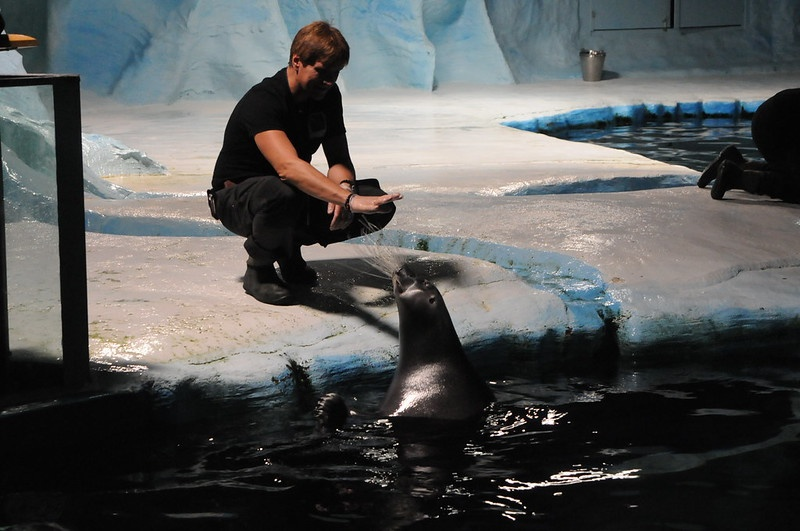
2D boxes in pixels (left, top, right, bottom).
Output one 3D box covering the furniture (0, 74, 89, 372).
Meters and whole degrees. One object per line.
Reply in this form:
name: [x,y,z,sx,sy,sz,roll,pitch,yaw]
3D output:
furniture: [-1.181,-0.118,2.693,0.316,1.016,0.235,-3,17,-15]
